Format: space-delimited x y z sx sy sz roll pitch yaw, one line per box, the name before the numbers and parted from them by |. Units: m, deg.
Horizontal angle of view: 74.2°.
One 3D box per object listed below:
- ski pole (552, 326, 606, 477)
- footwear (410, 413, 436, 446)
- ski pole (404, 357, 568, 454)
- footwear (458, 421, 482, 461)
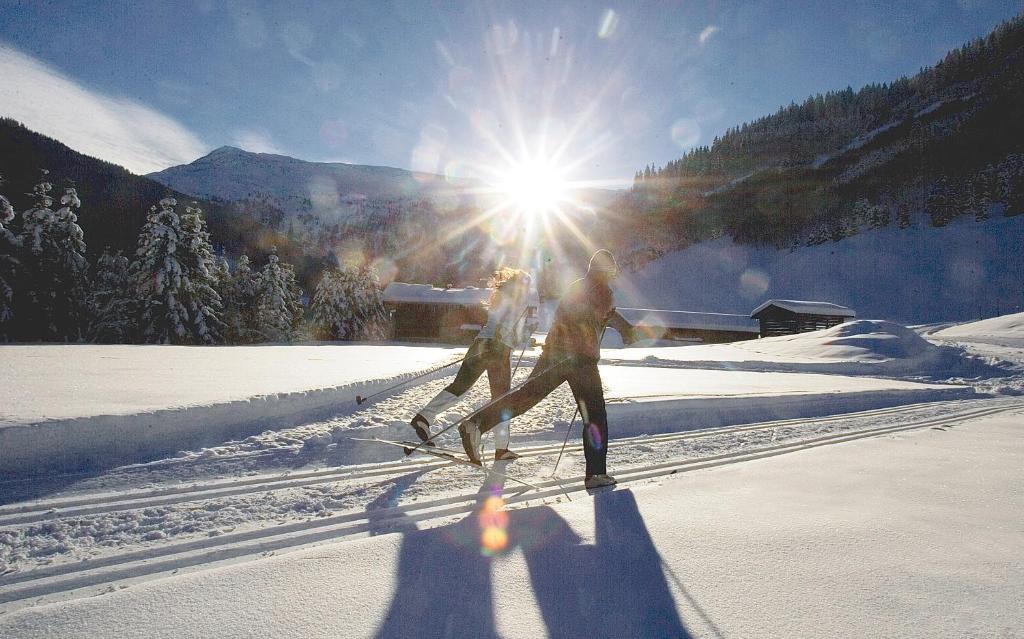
ski pole | 1.111 1.420 11.203 0.365 2.619 0.097 22 -19 2
footwear | -1.439 1.835 11.170 0.237 0.591 0.344 -14 0 -33
ski pole | -0.358 1.093 10.878 2.415 0.749 1.266 -30 -19 -22
footwear | -0.664 1.964 10.989 0.259 0.799 0.308 -7 -7 2
